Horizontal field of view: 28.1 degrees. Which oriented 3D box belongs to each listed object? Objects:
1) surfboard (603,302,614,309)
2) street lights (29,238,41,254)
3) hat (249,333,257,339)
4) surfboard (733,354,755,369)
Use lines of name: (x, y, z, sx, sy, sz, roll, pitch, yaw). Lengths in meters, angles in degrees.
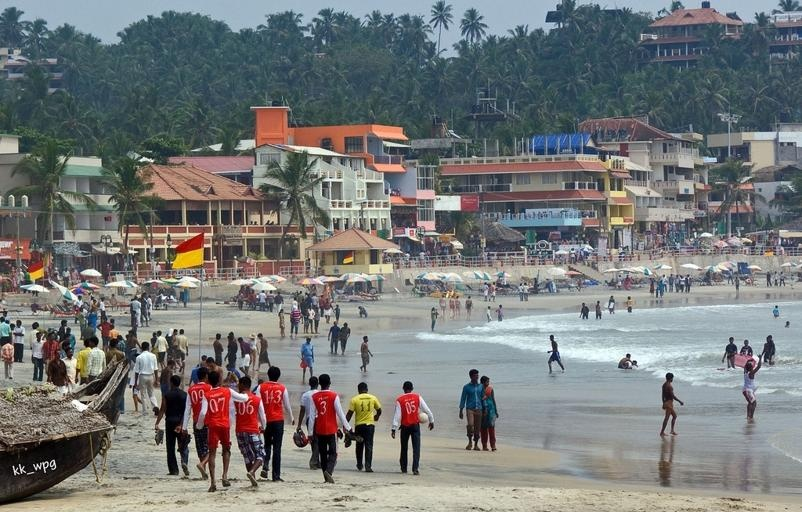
surfboard: (18.927, 4.663, 145.674, 0.629, 0.379, 0.804, -1, -6, -11)
street lights: (-32.810, -0.727, 144.265, 1.048, 0.964, 0.326, 8, -16, -1)
hat: (-10.747, 5.981, 117.204, 0.521, 0.159, 0.509, -3, 12, -43)
surfboard: (24.668, 7.672, 115.569, 1.202, 0.474, 1.555, -11, 6, -35)
